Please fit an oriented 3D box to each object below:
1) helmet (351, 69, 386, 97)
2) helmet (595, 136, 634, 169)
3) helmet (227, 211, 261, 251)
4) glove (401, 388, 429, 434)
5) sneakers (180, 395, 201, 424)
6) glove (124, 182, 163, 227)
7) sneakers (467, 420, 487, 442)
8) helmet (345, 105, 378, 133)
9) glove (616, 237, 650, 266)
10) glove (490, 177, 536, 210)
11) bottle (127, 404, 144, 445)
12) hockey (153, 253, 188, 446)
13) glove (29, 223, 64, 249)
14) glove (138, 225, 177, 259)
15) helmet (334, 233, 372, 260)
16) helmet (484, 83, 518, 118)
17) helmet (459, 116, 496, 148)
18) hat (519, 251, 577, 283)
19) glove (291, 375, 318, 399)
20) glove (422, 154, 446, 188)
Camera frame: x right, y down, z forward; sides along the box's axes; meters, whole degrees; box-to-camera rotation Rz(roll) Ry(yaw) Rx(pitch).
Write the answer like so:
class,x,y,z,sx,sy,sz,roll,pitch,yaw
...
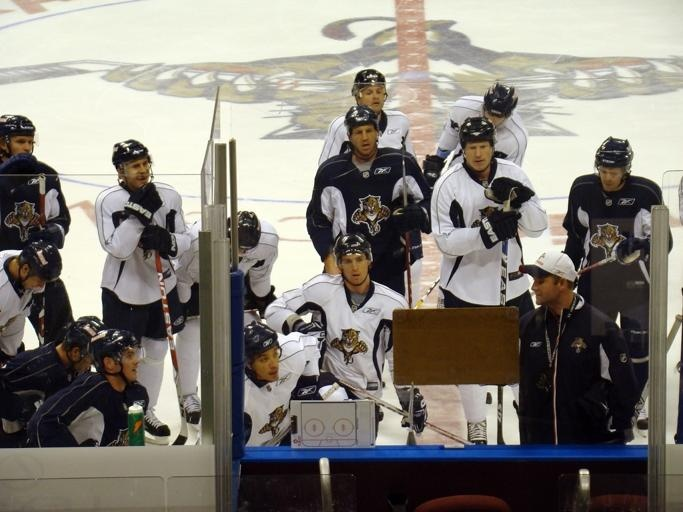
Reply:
class,x,y,z,sx,sy,sz,roll,pitch,yaw
helmet,0.175,-1.101,7.126,0.182,0.202,0.217,-2,-25,-9
helmet,1.578,-0.591,6.598,0.169,0.193,0.194,7,-5,15
helmet,-0.615,-0.123,6.956,0.245,0.286,0.280,-1,18,-9
glove,0.397,0.877,6.437,0.146,0.244,0.109,7,5,37
sneakers,-0.776,0.789,5.893,0.075,0.087,0.218,-11,47,-12
glove,-1.056,-0.276,6.126,0.195,0.195,0.078,-35,-10,17
sneakers,0.770,0.995,6.482,0.079,0.137,0.067,1,-7,-3
helmet,0.115,-0.834,6.964,0.145,0.167,0.173,-3,-12,-14
glove,1.616,-0.028,6.354,0.179,0.145,0.122,1,3,18
glove,1.003,-0.381,6.685,0.215,0.159,0.098,-8,1,-13
bottle,-1.047,0.865,5.837,0.082,0.213,0.137,-1,3,-11
hockey,-0.899,0.477,6.034,0.081,0.965,0.510,-1,3,-19
glove,-1.576,-0.107,6.130,0.205,0.133,0.042,1,3,24
glove,-0.992,-0.073,6.189,0.204,0.182,0.067,0,3,-10
helmet,0.060,-0.056,6.716,0.147,0.177,0.171,0,-1,2
helmet,0.967,-0.943,6.917,0.167,0.212,0.183,16,25,2
helmet,0.806,-0.721,6.735,0.150,0.186,0.189,-2,-11,3
hat,1.157,0.064,6.399,0.235,0.119,0.167,3,0,1
glove,-0.211,0.760,6.615,0.159,0.130,0.019,0,3,-4
glove,0.556,-0.520,6.963,0.136,0.172,0.176,14,18,-1
